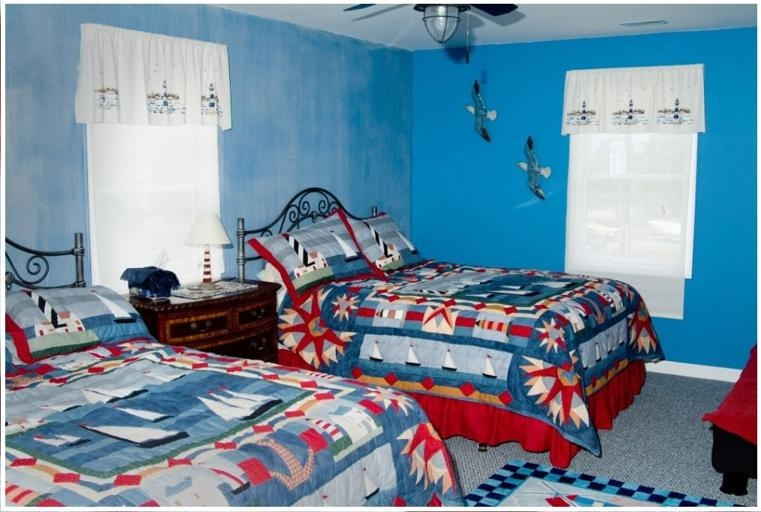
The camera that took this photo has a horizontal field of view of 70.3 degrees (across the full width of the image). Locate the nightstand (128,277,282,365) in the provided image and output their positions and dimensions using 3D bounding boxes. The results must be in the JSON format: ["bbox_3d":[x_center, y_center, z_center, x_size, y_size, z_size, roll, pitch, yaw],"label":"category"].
[{"bbox_3d":[-1.263,0.440,3.915,0.614,0.796,0.893,3,8,31],"label":"nightstand"}]

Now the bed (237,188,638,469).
[{"bbox_3d":[0.497,0.208,4.290,2.541,1.306,1.883,6,15,29],"label":"bed"}]

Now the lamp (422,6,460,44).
[{"bbox_3d":[0.376,-1.431,3.388,0.224,0.189,0.217,-7,12,-31],"label":"lamp"}]

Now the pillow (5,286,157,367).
[{"bbox_3d":[-1.728,0.383,3.012,0.510,0.130,0.472,-8,24,-32],"label":"pillow"}]
